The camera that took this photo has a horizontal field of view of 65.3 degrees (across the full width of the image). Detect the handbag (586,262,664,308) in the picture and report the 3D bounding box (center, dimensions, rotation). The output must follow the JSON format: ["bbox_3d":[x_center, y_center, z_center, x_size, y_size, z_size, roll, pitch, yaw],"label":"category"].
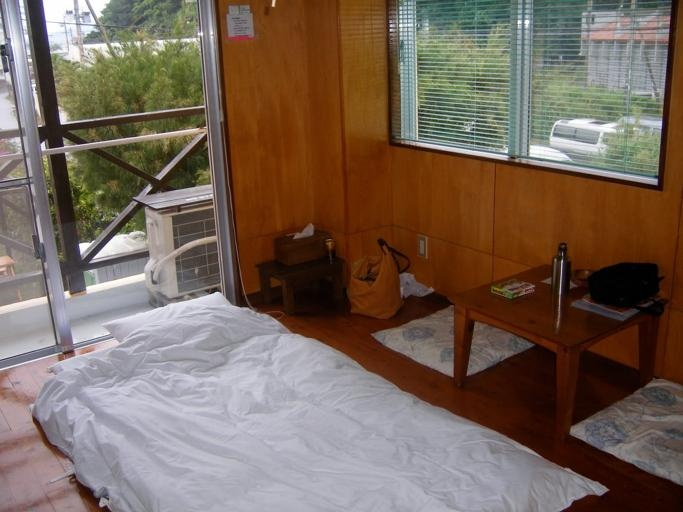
[{"bbox_3d":[1.537,0.120,2.865,0.327,0.131,0.240,-27,29,-27],"label":"handbag"}]

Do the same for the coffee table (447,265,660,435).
[{"bbox_3d":[1.200,0.499,3.085,0.899,0.591,0.790,-14,22,-30],"label":"coffee table"}]

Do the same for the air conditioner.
[{"bbox_3d":[-1.229,-0.059,4.248,0.273,0.711,0.741,10,17,39],"label":"air conditioner"}]

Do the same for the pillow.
[{"bbox_3d":[-1.102,0.385,3.392,0.737,0.162,0.414,-14,22,-30],"label":"pillow"}]

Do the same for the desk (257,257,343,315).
[{"bbox_3d":[-0.315,0.167,4.346,0.559,0.351,0.436,-10,15,-37],"label":"desk"}]
